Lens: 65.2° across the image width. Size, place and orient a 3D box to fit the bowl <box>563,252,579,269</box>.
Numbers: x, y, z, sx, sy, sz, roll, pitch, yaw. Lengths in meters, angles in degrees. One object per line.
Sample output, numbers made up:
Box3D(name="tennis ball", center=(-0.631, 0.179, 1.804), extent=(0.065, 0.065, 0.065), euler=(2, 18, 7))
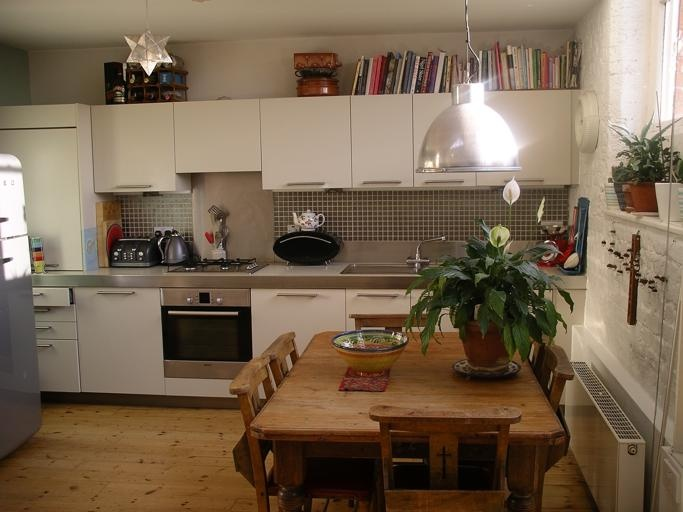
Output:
Box3D(name="bowl", center=(1.769, 0.046, 4.082), extent=(0.078, 0.110, 0.097), euler=(28, -22, -11))

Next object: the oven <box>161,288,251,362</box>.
Box3D(name="oven", center=(-1.015, 0.512, 4.512), extent=(0.915, 0.799, 0.552), euler=(0, 1, 1))

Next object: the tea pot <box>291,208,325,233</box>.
Box3D(name="tea pot", center=(-0.272, -0.308, 4.650), extent=(0.283, 0.178, 0.220), euler=(-2, 11, -2))

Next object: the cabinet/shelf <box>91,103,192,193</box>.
Box3D(name="cabinet/shelf", center=(-1.675, -0.800, 4.866), extent=(1.020, 0.967, 0.674), euler=(-1, 0, 2))

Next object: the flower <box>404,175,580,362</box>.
Box3D(name="flower", center=(0.672, 0.056, 2.715), extent=(0.865, 0.965, 0.882), euler=(0, 0, 21))

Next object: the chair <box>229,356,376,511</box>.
Box3D(name="chair", center=(-0.158, 0.801, 2.697), extent=(0.731, 0.948, 0.705), euler=(-1, 7, 5))

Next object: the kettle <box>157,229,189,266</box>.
Box3D(name="kettle", center=(-1.500, -0.060, 4.721), extent=(0.227, 0.318, 0.323), euler=(8, 11, 41))

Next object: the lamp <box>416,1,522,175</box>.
Box3D(name="lamp", center=(0.551, -0.553, 2.294), extent=(0.423, 0.371, 0.225), euler=(0, 11, 10))

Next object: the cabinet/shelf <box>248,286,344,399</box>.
Box3D(name="cabinet/shelf", center=(-0.317, 0.678, 4.411), extent=(0.838, 0.761, 0.485), euler=(0, 8, 2))

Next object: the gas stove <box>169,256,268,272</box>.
Box3D(name="gas stove", center=(-1.085, 0.064, 4.638), extent=(0.839, 0.055, 0.533), euler=(0, 11, 7))
